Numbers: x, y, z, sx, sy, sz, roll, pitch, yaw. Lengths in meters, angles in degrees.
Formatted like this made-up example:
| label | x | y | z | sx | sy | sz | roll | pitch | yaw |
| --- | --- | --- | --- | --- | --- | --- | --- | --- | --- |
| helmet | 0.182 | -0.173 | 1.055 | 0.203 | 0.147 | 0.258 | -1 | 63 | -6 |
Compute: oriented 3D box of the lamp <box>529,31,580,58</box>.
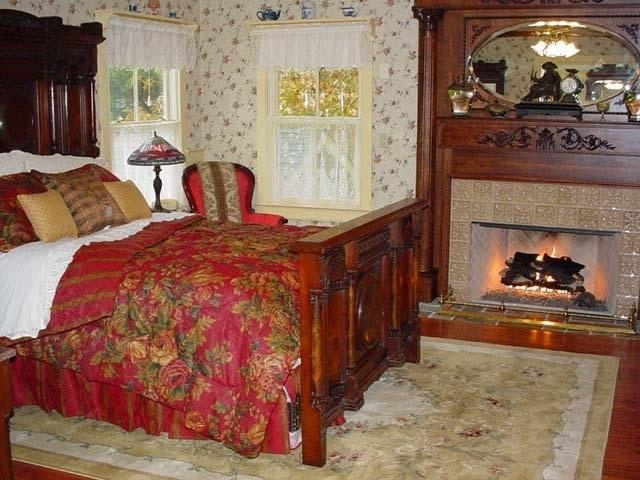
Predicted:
| label | x | y | z | sx | sy | sz | roll | pitch | yaw |
| --- | --- | --- | --- | --- | --- | --- | --- | --- | --- |
| lamp | 2.260 | -1.826 | 5.131 | 0.274 | 0.129 | 0.269 | -23 | 35 | -36 |

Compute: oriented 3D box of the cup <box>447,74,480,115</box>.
| label | x | y | z | sx | sy | sz | roll | pitch | yaw |
| --- | --- | --- | --- | --- | --- | --- | --- | --- | --- |
| cup | 1.422 | -1.429 | 5.350 | 0.330 | 0.397 | 0.309 | -1 | 22 | 1 |

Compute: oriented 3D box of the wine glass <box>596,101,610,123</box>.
| label | x | y | z | sx | sy | sz | roll | pitch | yaw |
| --- | --- | --- | --- | --- | --- | --- | --- | --- | --- |
| wine glass | 2.627 | -1.182 | 4.992 | 0.106 | 0.157 | 0.217 | 6 | 12 | 26 |

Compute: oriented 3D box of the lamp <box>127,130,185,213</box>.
| label | x | y | z | sx | sy | sz | roll | pitch | yaw |
| --- | --- | --- | --- | --- | --- | --- | --- | --- | --- |
| lamp | -1.658 | -0.643 | 5.482 | 0.580 | 0.723 | 0.582 | 5 | 11 | 20 |

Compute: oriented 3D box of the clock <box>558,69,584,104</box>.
| label | x | y | z | sx | sy | sz | roll | pitch | yaw |
| --- | --- | --- | --- | --- | --- | --- | --- | --- | --- |
| clock | 2.365 | -1.436 | 5.075 | 0.202 | 0.326 | 0.215 | 7 | 13 | 32 |
